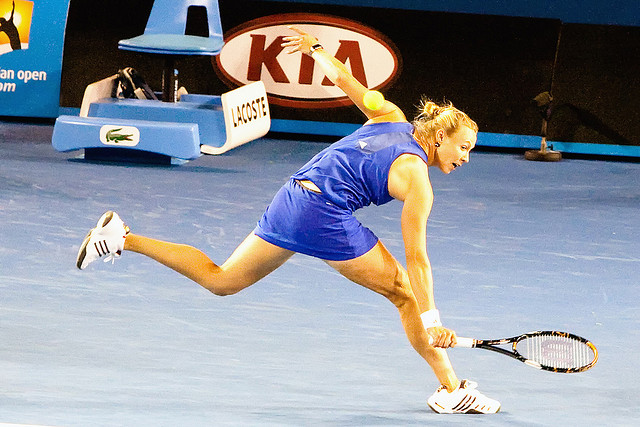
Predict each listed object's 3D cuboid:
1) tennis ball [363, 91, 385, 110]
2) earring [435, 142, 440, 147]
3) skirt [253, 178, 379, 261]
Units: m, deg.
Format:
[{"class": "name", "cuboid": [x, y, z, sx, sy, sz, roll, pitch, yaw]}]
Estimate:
[{"class": "tennis ball", "cuboid": [0.275, -0.591, 3.699, 0.112, 0.095, 0.083, 6, 10, 1]}, {"class": "earring", "cuboid": [0.587, -0.354, 3.593, 0.025, 0.019, 0.007, 3, -2, 7]}, {"class": "skirt", "cuboid": [-0.012, 0.042, 3.743, 0.695, 0.316, 0.355, 19, 23, 22]}]
